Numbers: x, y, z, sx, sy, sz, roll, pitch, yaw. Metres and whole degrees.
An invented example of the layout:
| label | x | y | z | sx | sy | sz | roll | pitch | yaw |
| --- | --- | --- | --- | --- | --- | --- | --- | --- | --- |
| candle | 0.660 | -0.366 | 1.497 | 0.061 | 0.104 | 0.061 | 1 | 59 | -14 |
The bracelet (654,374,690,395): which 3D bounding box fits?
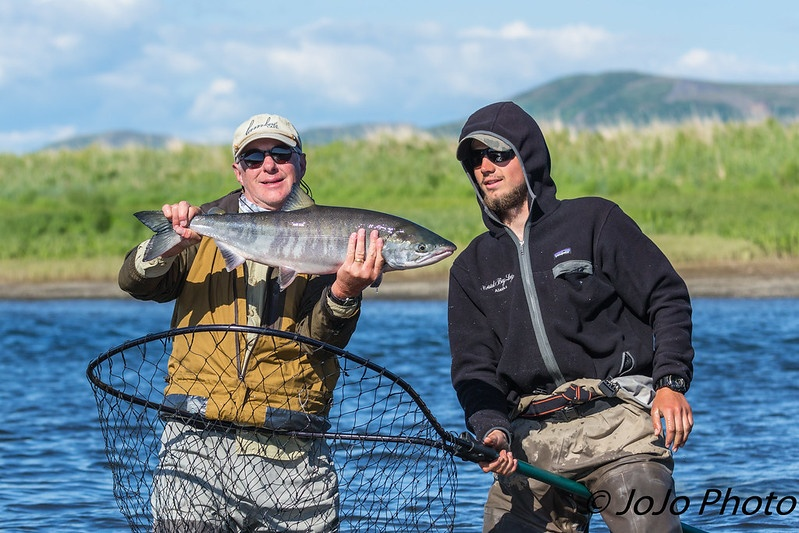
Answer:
| label | x | y | z | sx | sy | sz | roll | pitch | yaw |
| --- | --- | --- | --- | --- | --- | --- | --- | --- | --- |
| bracelet | 4.023 | 1.725 | 24.498 | 0.387 | 0.257 | 0.412 | 0 | -21 | 1 |
